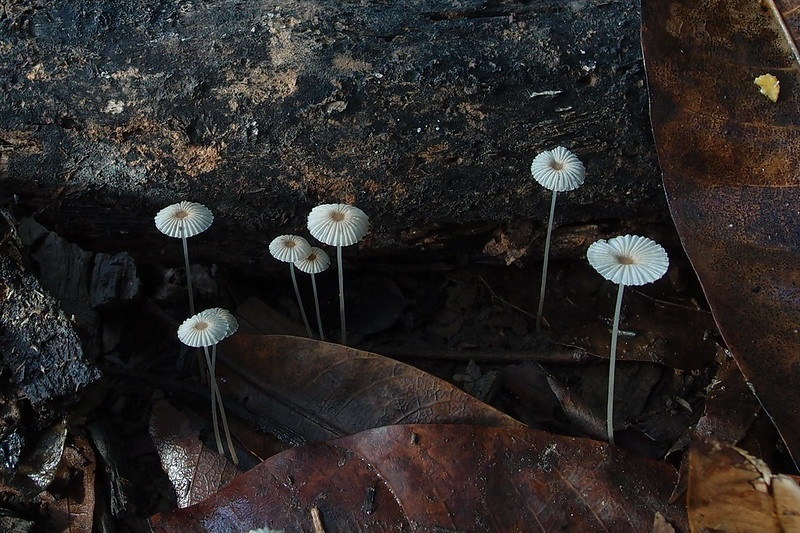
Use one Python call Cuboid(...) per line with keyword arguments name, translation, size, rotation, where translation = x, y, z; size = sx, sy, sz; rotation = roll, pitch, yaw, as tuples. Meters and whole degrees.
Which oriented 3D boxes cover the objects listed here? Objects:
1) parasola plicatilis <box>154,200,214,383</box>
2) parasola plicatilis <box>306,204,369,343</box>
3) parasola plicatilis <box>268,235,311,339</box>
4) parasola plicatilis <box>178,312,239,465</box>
Cuboid(name="parasola plicatilis", translation=(-1.227, 0.008, 4.497), size=(0.356, 0.856, 0.303), rotation=(8, -38, -28))
Cuboid(name="parasola plicatilis", translation=(-0.338, 0.131, 4.710), size=(0.208, 0.657, 0.271), rotation=(3, -5, 23))
Cuboid(name="parasola plicatilis", translation=(-0.666, 0.116, 5.046), size=(0.266, 0.235, 0.706), rotation=(-9, -54, -12))
Cuboid(name="parasola plicatilis", translation=(-1.116, 0.565, 4.676), size=(0.337, 0.915, 0.716), rotation=(1, -53, -10))
